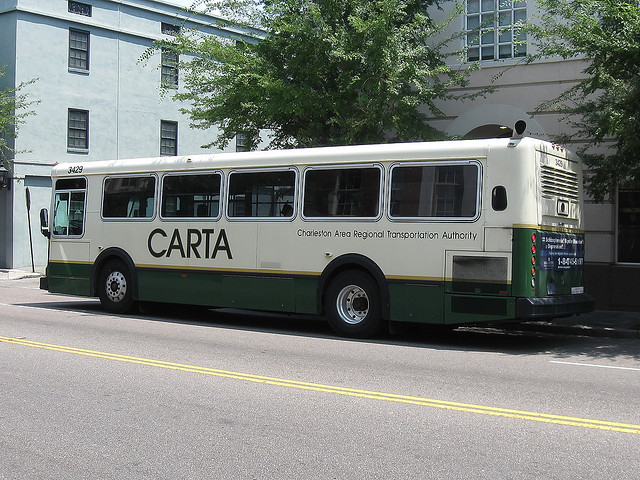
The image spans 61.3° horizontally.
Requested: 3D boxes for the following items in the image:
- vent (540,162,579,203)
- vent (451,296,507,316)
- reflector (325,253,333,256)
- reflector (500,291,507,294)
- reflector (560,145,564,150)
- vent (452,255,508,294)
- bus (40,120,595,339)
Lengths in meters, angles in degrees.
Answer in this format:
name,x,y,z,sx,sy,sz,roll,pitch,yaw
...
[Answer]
name,x,y,z,sx,sy,sz,roll,pitch,yaw
vent,4.857,-1.134,10.923,0.064,0.680,2.017,0,-1,43
vent,2.978,1.238,10.107,0.997,0.208,0.065,1,0,21
reflector,0.180,0.304,11.461,0.180,0.042,0.027,0,-1,37
reflector,3.382,0.967,9.933,0.120,0.050,0.016,1,0,17
reflector,4.945,-1.886,11.011,0.081,0.029,0.084,20,35,33
vent,3.003,0.649,10.109,0.967,0.644,0.092,1,0,19
bus,-1.014,-0.119,13.530,14.209,3.401,3.082,0,-1,25
